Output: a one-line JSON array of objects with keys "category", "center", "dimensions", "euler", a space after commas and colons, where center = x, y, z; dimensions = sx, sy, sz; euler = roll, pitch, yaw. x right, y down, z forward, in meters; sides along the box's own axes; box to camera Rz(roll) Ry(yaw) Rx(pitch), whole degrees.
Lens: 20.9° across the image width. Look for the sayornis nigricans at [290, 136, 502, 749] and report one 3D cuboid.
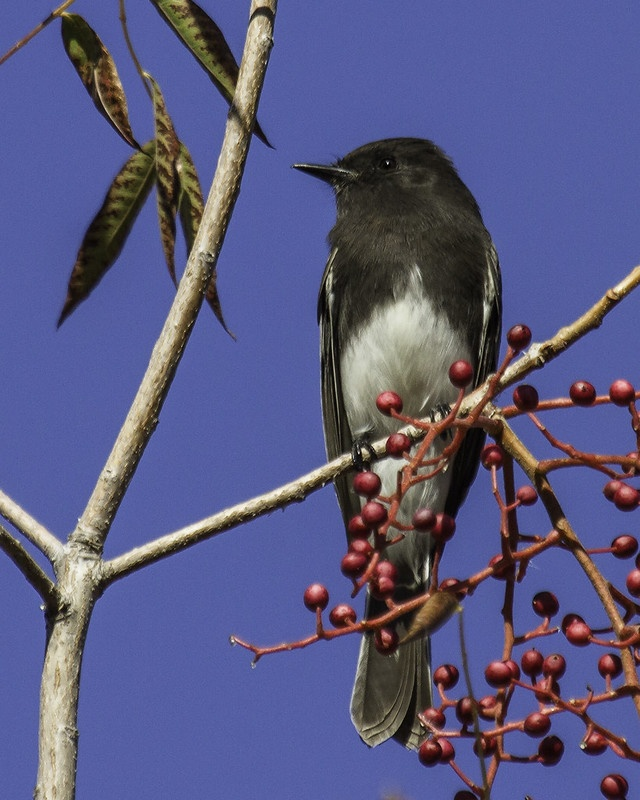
[{"category": "sayornis nigricans", "center": [0.204, 0.065, 4.048], "dimensions": [0.494, 1.656, 0.417], "euler": [4, -39, 2]}]
